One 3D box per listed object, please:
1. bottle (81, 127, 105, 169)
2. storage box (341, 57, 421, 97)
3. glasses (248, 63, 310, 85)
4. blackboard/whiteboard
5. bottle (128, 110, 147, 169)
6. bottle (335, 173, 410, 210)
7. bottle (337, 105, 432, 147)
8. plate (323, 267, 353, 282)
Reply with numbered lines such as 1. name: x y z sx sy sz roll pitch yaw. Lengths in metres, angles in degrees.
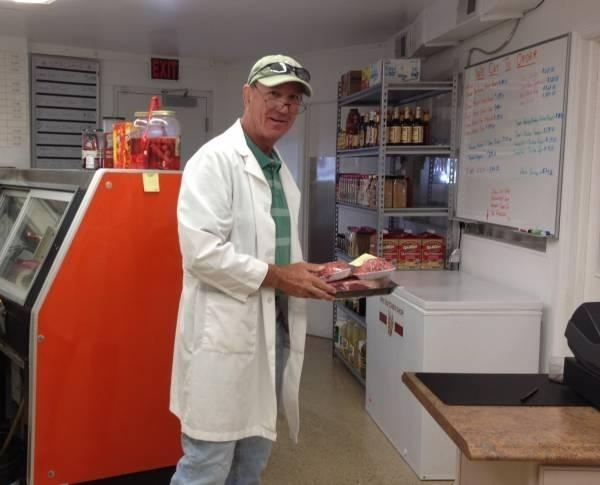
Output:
1. bottle: -1.059 -0.483 2.446 0.103 0.216 0.383 -4 9 -24
2. storage box: 0.621 -1.291 3.742 0.357 0.243 0.874 -3 9 -17
3. glasses: -0.082 -0.634 1.795 0.231 0.073 0.117 -1 8 -2
4. blackboard/whiteboard: 1.250 -0.635 2.808 0.053 1.267 1.152 0 7 -15
5. bottle: -0.733 -0.466 2.178 0.104 0.250 0.058 3 8 26
6. bottle: 0.583 -0.430 3.872 0.273 0.253 0.971 -2 8 -13
7. bottle: 0.634 -0.924 3.785 0.381 0.343 0.896 -3 8 -15
8. plate: 0.141 0.111 1.792 0.070 0.032 0.056 -3 5 -28
